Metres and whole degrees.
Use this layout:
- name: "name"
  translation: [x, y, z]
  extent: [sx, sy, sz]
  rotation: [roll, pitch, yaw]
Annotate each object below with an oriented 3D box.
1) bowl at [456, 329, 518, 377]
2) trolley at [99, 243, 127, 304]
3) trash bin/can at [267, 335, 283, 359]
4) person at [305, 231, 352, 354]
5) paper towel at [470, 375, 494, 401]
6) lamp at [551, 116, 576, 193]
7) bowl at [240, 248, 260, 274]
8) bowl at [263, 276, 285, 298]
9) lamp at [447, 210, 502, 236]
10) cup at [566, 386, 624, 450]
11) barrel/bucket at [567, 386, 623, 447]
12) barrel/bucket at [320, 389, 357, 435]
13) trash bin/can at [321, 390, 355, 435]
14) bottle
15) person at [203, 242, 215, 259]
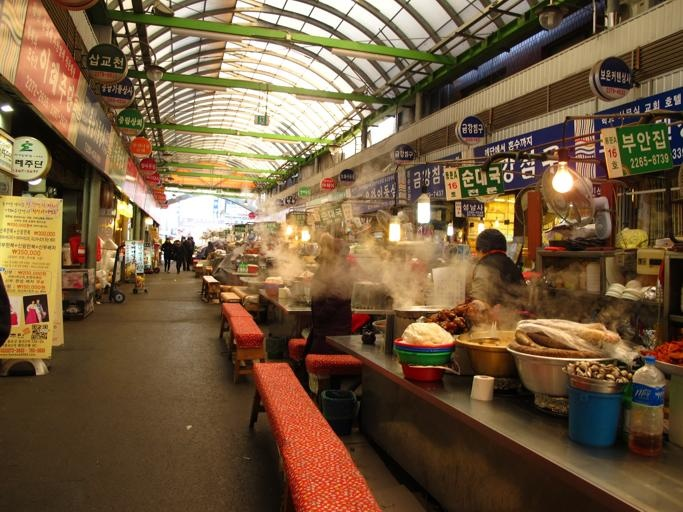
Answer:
- name: "bowl"
  translation: [0.726, 0.569, 2.882]
  extent: [0.355, 0.181, 0.384]
  rotation: [9, -8, 1]
- name: "trolley"
  translation: [-5.333, 0.424, 11.716]
  extent: [0.771, 1.306, 0.744]
  rotation: [9, -9, -27]
- name: "trash bin/can"
  translation: [-0.858, 1.173, 6.539]
  extent: [0.232, 0.279, 0.241]
  rotation: [1, 3, -3]
- name: "person"
  translation: [-0.117, 0.379, 5.153]
  extent: [0.455, 1.206, 0.610]
  rotation: [2, 4, 24]
- name: "paper towel"
  translation: [0.732, 0.678, 2.642]
  extent: [0.118, 0.117, 0.144]
  rotation: [2, 4, 21]
- name: "lamp"
  translation: [1.665, -0.656, 3.821]
  extent: [0.157, 0.356, 0.218]
  rotation: [2, 4, 15]
- name: "bowl"
  translation: [-2.155, 0.129, 11.774]
  extent: [0.552, 0.143, 0.546]
  rotation: [-4, 19, 2]
- name: "bowl"
  translation: [-0.940, 0.425, 7.140]
  extent: [0.256, 0.263, 0.257]
  rotation: [2, 2, 0]
- name: "lamp"
  translation: [3.402, -0.822, 13.035]
  extent: [1.233, 0.474, 1.350]
  rotation: [2, 1, 36]
- name: "cup"
  translation: [1.088, 0.688, 2.239]
  extent: [0.229, 0.263, 0.236]
  rotation: [3, -5, 0]
- name: "barrel/bucket"
  translation: [1.091, 0.708, 2.200]
  extent: [0.230, 0.263, 0.233]
  rotation: [4, -6, 0]
- name: "barrel/bucket"
  translation: [-0.060, 1.321, 4.355]
  extent: [0.305, 0.381, 0.319]
  rotation: [1, 2, 0]
- name: "trash bin/can"
  translation: [-0.025, 1.286, 4.250]
  extent: [0.296, 0.367, 0.316]
  rotation: [2, 2, -3]
- name: "bottle"
  translation: [1.348, 0.640, 2.212]
  extent: [0.203, 0.414, 0.114]
  rotation: [-1, 4, -25]
- name: "person"
  translation: [-5.253, -0.269, 20.115]
  extent: [0.375, 0.683, 1.468]
  rotation: [0, 4, -16]
